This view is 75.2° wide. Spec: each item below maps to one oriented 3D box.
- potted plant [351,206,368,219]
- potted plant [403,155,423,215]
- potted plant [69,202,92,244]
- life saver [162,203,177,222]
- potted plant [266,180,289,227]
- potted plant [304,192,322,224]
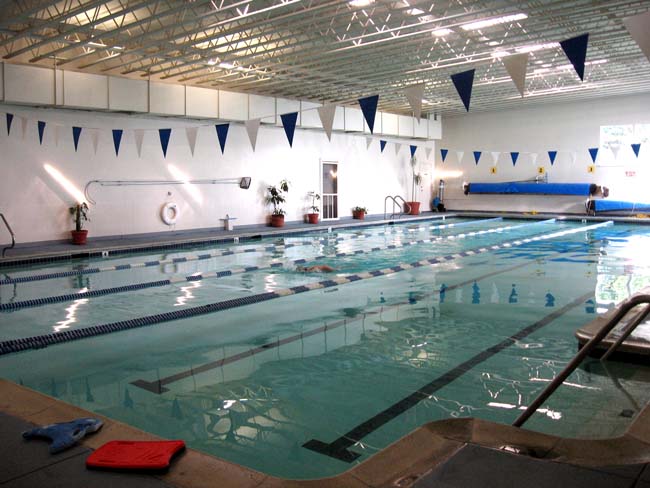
[{"bbox_3d":[1.287,-1.134,15.248,0.493,0.314,0.470,2,-2,-24],"label":"potted plant"},{"bbox_3d":[3.703,-2.489,17.517,0.698,2.351,1.573,0,9,13],"label":"potted plant"},{"bbox_3d":[-5.392,-0.461,9.190,0.416,0.883,0.424,2,2,41],"label":"potted plant"},{"bbox_3d":[-3.954,-0.803,10.674,0.116,0.406,0.432,5,-7,34],"label":"life saver"},{"bbox_3d":[-1.367,-1.254,12.852,0.760,1.378,0.446,-10,12,-42],"label":"potted plant"},{"bbox_3d":[-0.406,-1.241,13.873,0.522,1.006,0.856,-2,9,0],"label":"potted plant"}]
